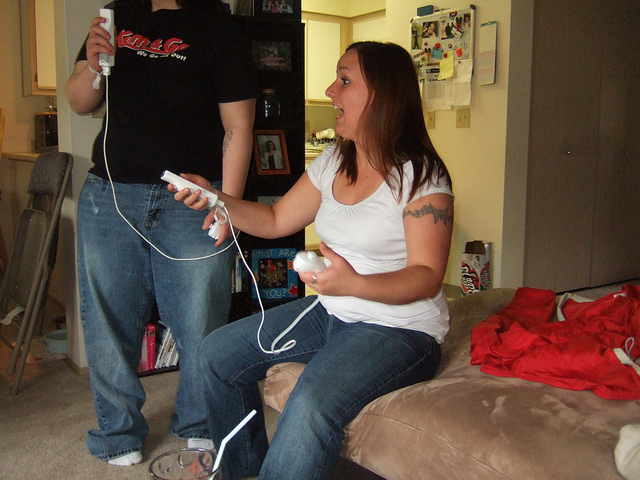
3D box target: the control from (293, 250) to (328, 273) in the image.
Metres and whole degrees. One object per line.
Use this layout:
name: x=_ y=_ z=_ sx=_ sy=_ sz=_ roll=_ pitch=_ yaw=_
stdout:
control: x=-0.027 y=0.058 z=1.416 sx=0.094 sy=0.069 sz=0.079 roll=2 pitch=11 yaw=-1

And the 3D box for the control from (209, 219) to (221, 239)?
control: x=-0.368 y=-0.038 z=1.853 sx=0.040 sy=0.063 sz=0.023 roll=24 pitch=-5 yaw=12

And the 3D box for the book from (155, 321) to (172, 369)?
book: x=-0.892 y=0.592 z=2.908 sx=0.074 sy=0.251 sz=0.152 roll=-5 pitch=12 yaw=-34

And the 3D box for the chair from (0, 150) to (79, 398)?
chair: x=-1.641 y=0.120 z=2.921 sx=0.640 sy=1.227 sz=0.399 roll=11 pitch=13 yaw=42

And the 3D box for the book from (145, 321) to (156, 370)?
book: x=-0.936 y=0.597 z=2.881 sx=0.040 sy=0.249 sz=0.038 roll=-1 pitch=10 yaw=-14

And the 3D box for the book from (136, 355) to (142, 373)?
book: x=-0.986 y=0.680 z=2.849 sx=0.024 sy=0.103 sz=0.125 roll=-2 pitch=12 yaw=-21

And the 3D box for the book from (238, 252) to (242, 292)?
book: x=-0.485 y=0.207 z=3.158 sx=0.025 sy=0.203 sz=0.098 roll=-1 pitch=10 yaw=-11

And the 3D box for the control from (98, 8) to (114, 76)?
control: x=-0.768 y=-0.704 z=1.866 sx=0.057 sy=0.226 sz=0.125 roll=-2 pitch=11 yaw=-21

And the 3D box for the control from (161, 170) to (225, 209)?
control: x=-0.457 y=-0.173 z=1.827 sx=0.182 sy=0.047 sz=0.044 roll=35 pitch=15 yaw=-22

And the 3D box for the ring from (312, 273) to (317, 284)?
ring: x=-0.013 y=0.107 z=1.419 sx=0.015 sy=0.024 sz=0.021 roll=0 pitch=-9 yaw=1

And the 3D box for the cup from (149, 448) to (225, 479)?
cup: x=-0.356 y=0.601 z=1.364 sx=0.117 sy=0.056 sz=0.109 roll=1 pitch=5 yaw=0
